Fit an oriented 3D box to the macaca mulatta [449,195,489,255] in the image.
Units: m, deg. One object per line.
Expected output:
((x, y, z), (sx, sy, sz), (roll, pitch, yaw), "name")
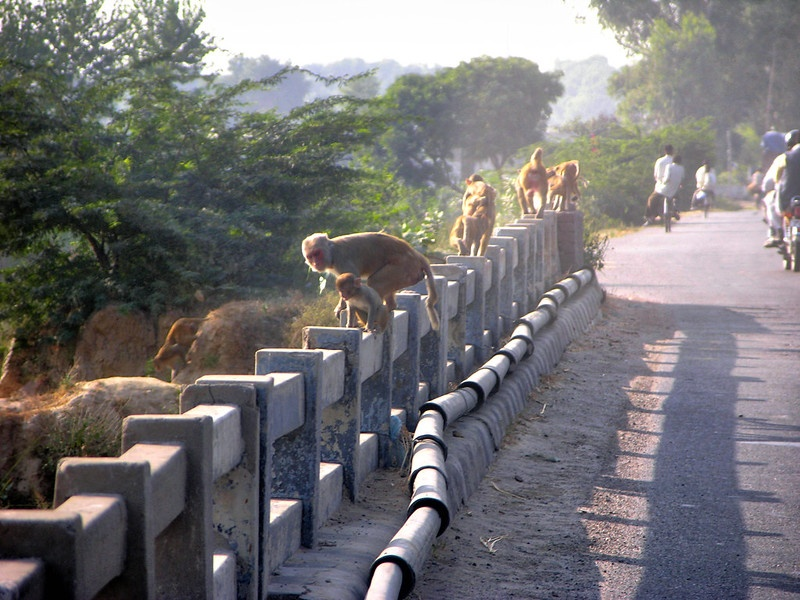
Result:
((1.104, -1.109, 13.797), (0.547, 0.833, 0.692), (1, 12, 5), "macaca mulatta")

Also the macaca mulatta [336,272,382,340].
((-0.323, 0.010, 8.236), (0.297, 0.563, 0.609), (0, 2, 38), "macaca mulatta")

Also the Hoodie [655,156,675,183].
((8.338, -4.236, 29.059), (0.720, 1.176, 0.417), (3, 13, 13), "Hoodie")

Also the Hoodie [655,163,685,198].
((8.516, -3.767, 28.877), (0.727, 1.187, 1.318), (3, 13, 16), "Hoodie")

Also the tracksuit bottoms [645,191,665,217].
((9.534, -3.591, 34.209), (0.440, 1.648, 0.674), (1, 2, 40), "tracksuit bottoms")

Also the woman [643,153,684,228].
((8.569, -3.687, 29.299), (0.830, 2.407, 0.875), (7, 21, 2), "woman")
